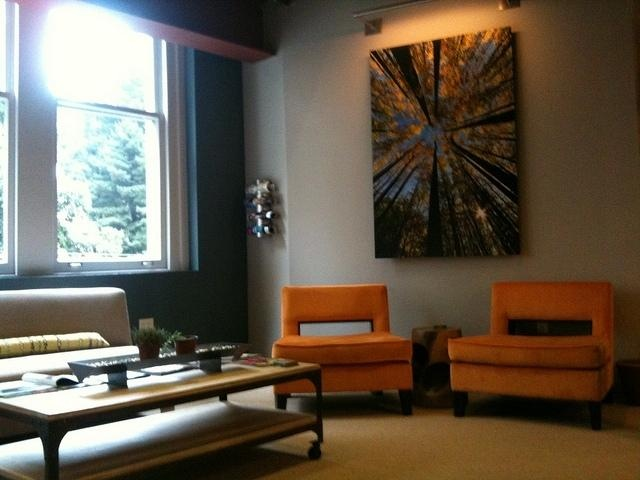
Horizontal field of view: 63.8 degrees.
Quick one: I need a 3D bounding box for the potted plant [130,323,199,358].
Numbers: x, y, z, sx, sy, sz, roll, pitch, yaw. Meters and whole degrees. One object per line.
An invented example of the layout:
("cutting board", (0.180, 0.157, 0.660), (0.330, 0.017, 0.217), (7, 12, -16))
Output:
("potted plant", (-0.889, 0.580, 2.916), (0.278, 0.133, 0.206), (0, -5, 0))
